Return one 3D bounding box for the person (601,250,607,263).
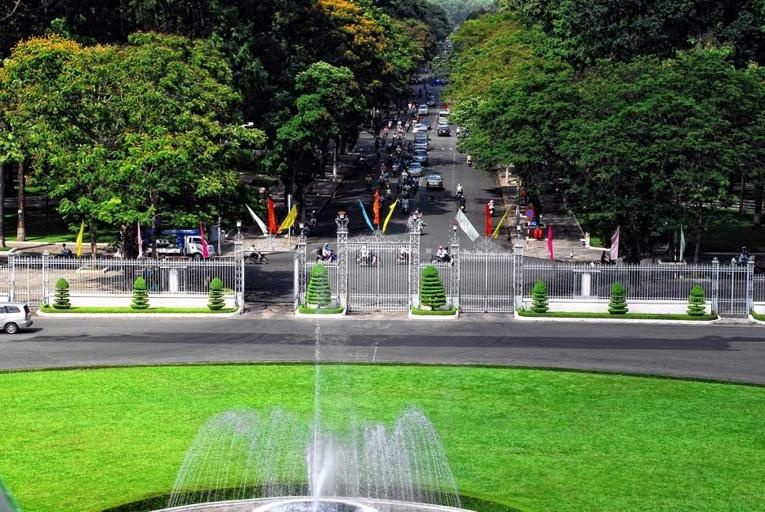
[{"bbox_3d":[15.919,0.000,61.089,0.415,0.994,0.574,10,44,19],"label":"person"}]

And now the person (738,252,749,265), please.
[{"bbox_3d":[24.527,0.126,57.876,0.662,0.697,1.246,-2,-8,21],"label":"person"}]

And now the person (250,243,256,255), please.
[{"bbox_3d":[-9.745,-0.564,64.660,0.479,0.650,0.884,-3,39,0],"label":"person"}]

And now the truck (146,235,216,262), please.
[{"bbox_3d":[-15.276,-0.156,64.909,5.879,2.533,2.450,-2,7,-7],"label":"truck"}]
